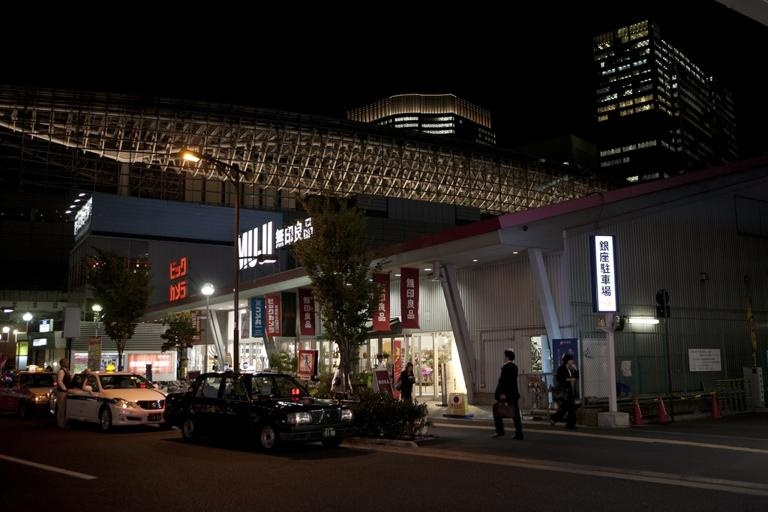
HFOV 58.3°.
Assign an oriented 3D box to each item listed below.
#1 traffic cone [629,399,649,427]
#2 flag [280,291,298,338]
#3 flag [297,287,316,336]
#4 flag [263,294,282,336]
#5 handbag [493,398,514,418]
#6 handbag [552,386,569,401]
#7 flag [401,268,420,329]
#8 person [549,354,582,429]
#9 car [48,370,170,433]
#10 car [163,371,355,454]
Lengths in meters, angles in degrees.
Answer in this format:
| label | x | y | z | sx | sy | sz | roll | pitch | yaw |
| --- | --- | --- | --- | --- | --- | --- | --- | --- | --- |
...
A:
| label | x | y | z | sx | sy | sz | roll | pitch | yaw |
| --- | --- | --- | --- | --- | --- | --- | --- | --- | --- |
| traffic cone | 9.644 | 5.882 | 26.158 | 0.401 | 0.993 | 1.241 | -5 | -13 | 20 |
| flag | -5.797 | 3.501 | 42.007 | 1.098 | 2.861 | 0.156 | 1 | 10 | 1 |
| flag | -4.062 | 2.854 | 35.885 | 0.815 | 2.443 | 0.976 | 1 | -12 | -10 |
| flag | -6.252 | 3.286 | 38.634 | 0.658 | 2.010 | 2.169 | 0 | -8 | -7 |
| handbag | 3.850 | 4.842 | 22.030 | 0.554 | 0.586 | 0.229 | 0 | 6 | 17 |
| handbag | 6.301 | 4.903 | 24.551 | 0.383 | 0.530 | 0.711 | 2 | -4 | -25 |
| flag | 1.210 | 1.905 | 32.292 | 0.837 | 2.853 | 0.409 | 1 | -11 | -9 |
| person | 6.510 | 4.853 | 24.765 | 0.778 | 2.558 | 0.997 | 2 | -12 | -12 |
| car | -9.801 | 5.306 | 25.392 | 3.739 | 2.111 | 1.620 | -9 | -14 | 29 |
| car | -4.124 | 4.870 | 21.702 | 5.069 | 1.869 | 2.478 | -9 | -14 | 37 |
